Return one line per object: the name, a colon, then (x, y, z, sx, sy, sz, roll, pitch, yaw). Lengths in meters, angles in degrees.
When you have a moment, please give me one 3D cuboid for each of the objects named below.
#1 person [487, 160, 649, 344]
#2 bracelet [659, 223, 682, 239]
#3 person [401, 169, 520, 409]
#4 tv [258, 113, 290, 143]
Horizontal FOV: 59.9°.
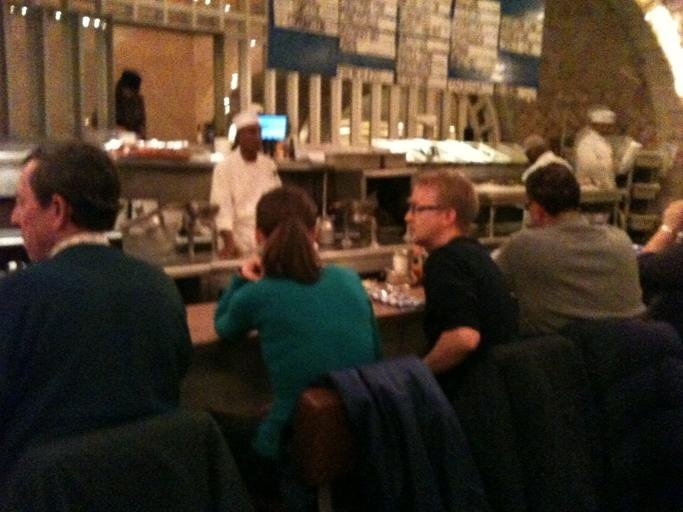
person: (1.068, -0.033, 2.869, 0.889, 0.786, 0.496, -12, 10, -10)
bracelet: (1.723, -0.128, 3.102, 0.088, 0.029, 0.068, 34, -2, -14)
person: (0.477, 0.104, 2.353, 0.432, 0.859, 0.454, 0, 10, 3)
tv: (-0.329, -0.618, 2.877, 0.117, 0.114, 0.012, 4, 48, -1)
